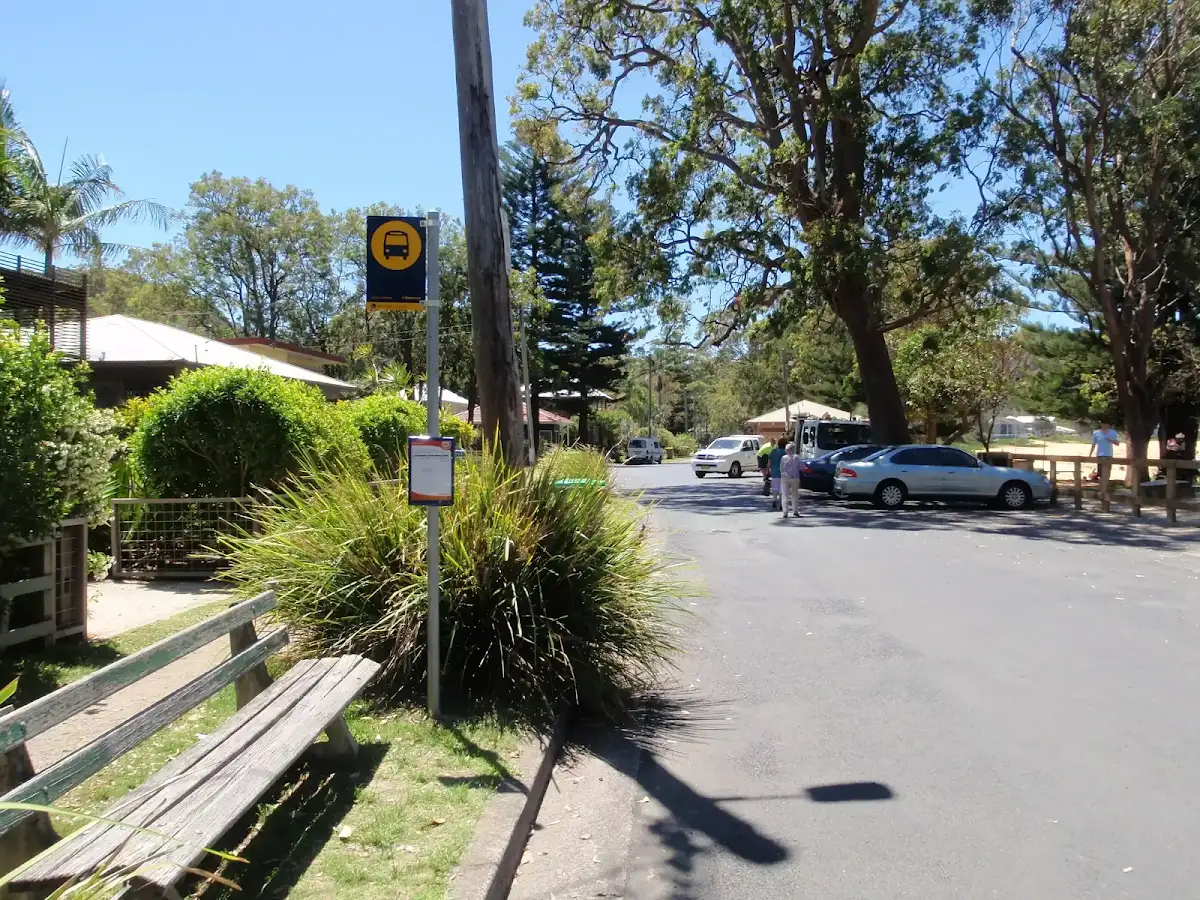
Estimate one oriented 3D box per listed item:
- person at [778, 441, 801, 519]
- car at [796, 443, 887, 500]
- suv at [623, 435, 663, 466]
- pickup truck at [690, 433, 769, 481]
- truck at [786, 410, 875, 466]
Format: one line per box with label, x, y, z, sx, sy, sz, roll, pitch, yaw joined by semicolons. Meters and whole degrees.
person;4.277;0.699;20.647;0.398;1.640;1.176;1;3;13
car;6.577;0.602;25.182;2.256;0.928;1.125;-3;3;-5
suv;3.184;0.096;65.322;1.341;1.339;2.422;2;10;23
pickup truck;5.781;0.216;41.088;1.545;1.569;2.930;-4;-6;36
truck;7.639;-0.441;29.869;1.962;1.410;1.599;-2;3;-3
